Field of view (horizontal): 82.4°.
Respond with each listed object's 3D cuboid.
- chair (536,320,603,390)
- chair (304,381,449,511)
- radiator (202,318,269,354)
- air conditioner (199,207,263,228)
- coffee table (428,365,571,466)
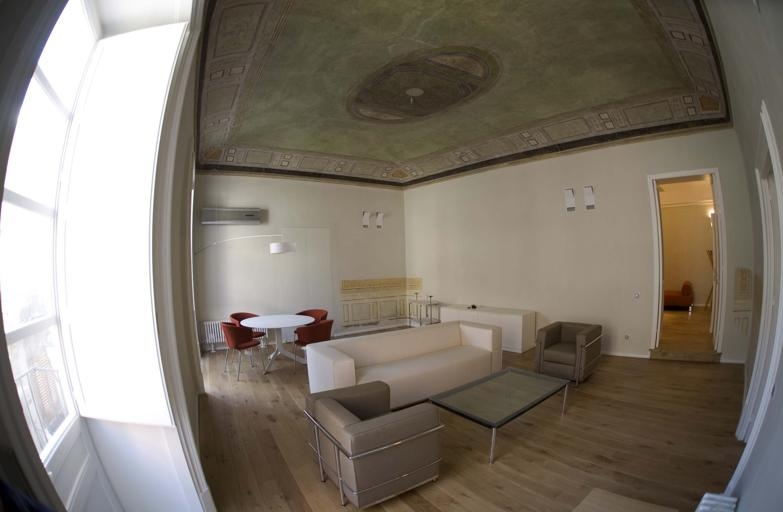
[{"bbox_3d":[3.120,1.655,7.759,0.986,0.858,1.037,0,0,41],"label":"chair"},{"bbox_3d":[-0.173,2.070,5.287,1.275,1.007,1.314,-9,11,-33],"label":"chair"},{"bbox_3d":[-3.188,1.588,8.970,0.894,0.592,0.172,-3,9,-29],"label":"radiator"},{"bbox_3d":[-3.619,-0.870,9.870,1.338,0.399,0.130,-1,6,-28],"label":"air conditioner"},{"bbox_3d":[1.472,1.986,6.066,1.763,0.443,1.051,-3,2,-42],"label":"coffee table"}]
